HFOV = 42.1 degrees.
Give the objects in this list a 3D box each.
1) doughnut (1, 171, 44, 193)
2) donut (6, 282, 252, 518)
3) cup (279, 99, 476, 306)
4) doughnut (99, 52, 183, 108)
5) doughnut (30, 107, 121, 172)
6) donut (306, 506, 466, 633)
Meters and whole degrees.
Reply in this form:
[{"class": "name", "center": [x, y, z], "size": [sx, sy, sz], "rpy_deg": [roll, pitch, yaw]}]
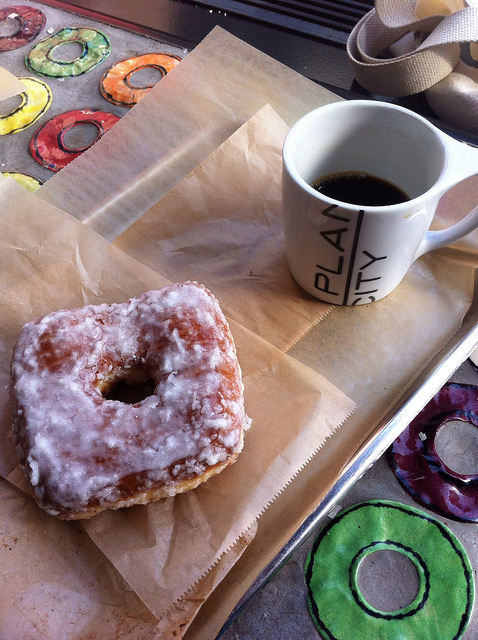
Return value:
[{"class": "doughnut", "center": [-0.328, -0.212, 0.940], "size": [0.048, 0.011, 0.048], "rpy_deg": [33, 33, 9]}, {"class": "donut", "center": [-0.125, 0.083, 0.694], "size": [0.244, 0.125, 0.230], "rpy_deg": [-8, 46, -10]}, {"class": "cup", "center": [0.154, -0.138, 0.766], "size": [0.260, 0.226, 0.204], "rpy_deg": [13, 48, 10]}, {"class": "doughnut", "center": [-0.131, -0.416, 1.080], "size": [0.189, 0.023, 0.183], "rpy_deg": [-11, 11, 33]}, {"class": "doughnut", "center": [-0.264, -0.293, 0.985], "size": [0.139, 0.045, 0.144], "rpy_deg": [-1, 45, -4]}, {"class": "donut", "center": [0.182, 0.317, 0.772], "size": [0.184, 0.074, 0.152], "rpy_deg": [11, 46, 8]}]
